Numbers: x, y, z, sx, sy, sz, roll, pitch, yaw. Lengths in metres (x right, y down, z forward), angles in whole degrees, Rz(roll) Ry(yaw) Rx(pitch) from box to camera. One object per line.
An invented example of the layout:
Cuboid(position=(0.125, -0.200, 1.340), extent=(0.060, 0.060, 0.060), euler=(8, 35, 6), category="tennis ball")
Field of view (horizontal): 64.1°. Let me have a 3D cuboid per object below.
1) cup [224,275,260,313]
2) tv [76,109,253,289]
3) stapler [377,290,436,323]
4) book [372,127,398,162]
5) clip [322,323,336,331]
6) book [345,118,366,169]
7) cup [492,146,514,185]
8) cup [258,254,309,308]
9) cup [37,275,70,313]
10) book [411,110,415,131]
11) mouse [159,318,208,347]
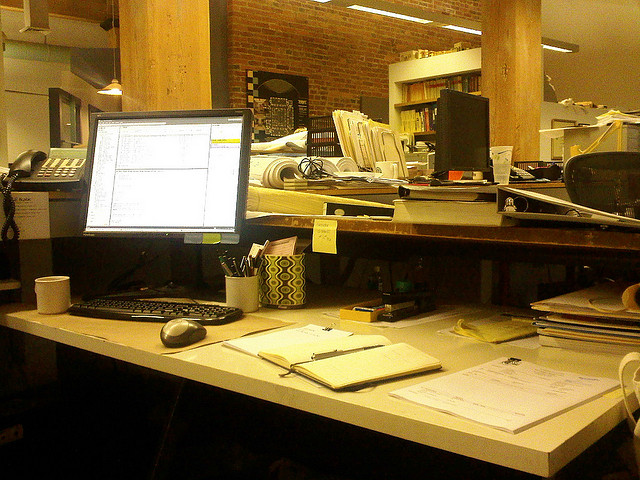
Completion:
Cuboid(position=(-0.228, 0.155, 1.498), extent=(0.109, 0.100, 0.093), euler=(2, -2, -41), category="cup")
Cuboid(position=(-0.505, -0.134, 1.627), extent=(0.651, 0.646, 0.193), euler=(2, -3, 9), category="tv")
Cuboid(position=(0.253, 0.179, 1.444), extent=(0.064, 0.083, 0.247), euler=(-3, 0, 44), category="stapler")
Cuboid(position=(0.400, -0.602, 3.189), extent=(0.046, 0.181, 0.190), euler=(3, 4, 44), category="book")
Cuboid(position=(0.024, 0.227, 1.314), extent=(0.010, 0.012, 0.034), euler=(1, -3, 16), category="clip")
Cuboid(position=(0.196, -0.634, 3.102), extent=(0.077, 0.226, 0.320), euler=(-8, 25, -17), category="book")
Cuboid(position=(1.047, -0.430, 2.921), extent=(0.151, 0.213, 0.145), euler=(3, 2, 0), category="cup")
Cuboid(position=(-0.110, 0.120, 1.606), extent=(0.154, 0.162, 0.153), euler=(-1, 6, 0), category="cup")
Cuboid(position=(-0.769, 0.157, 1.523), extent=(0.115, 0.102, 0.089), euler=(1, 0, -44), category="cup")
Cuboid(position=(1.293, -1.654, 7.065), extent=(0.044, 0.287, 0.096), euler=(0, 4, 11), category="book")
Cuboid(position=(-0.314, 0.214, 1.198), extent=(0.115, 0.053, 0.071), euler=(-3, 5, -25), category="mouse")
